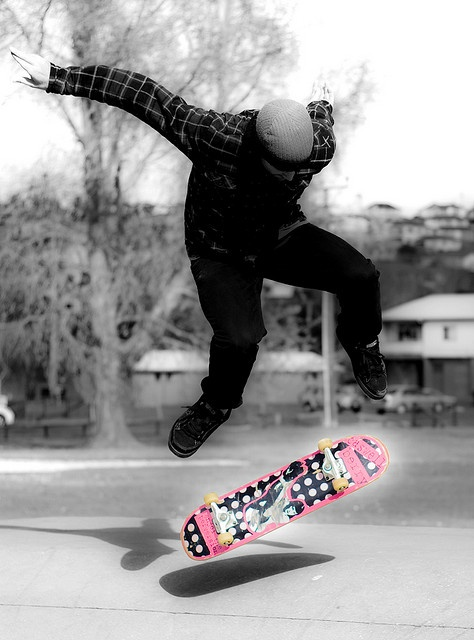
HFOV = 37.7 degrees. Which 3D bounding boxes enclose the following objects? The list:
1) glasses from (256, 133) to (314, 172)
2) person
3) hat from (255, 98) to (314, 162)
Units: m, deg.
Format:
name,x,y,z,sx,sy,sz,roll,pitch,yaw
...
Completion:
name,x,y,z,sx,sy,sz,roll,pitch,yaw
glasses,0.148,-0.530,2.189,0.122,0.048,0.142,-4,25,-34
person,0.138,-0.376,2.815,0.971,1.416,1.642,25,43,39
hat,0.132,-0.582,2.225,0.170,0.203,0.077,-27,-5,-16
